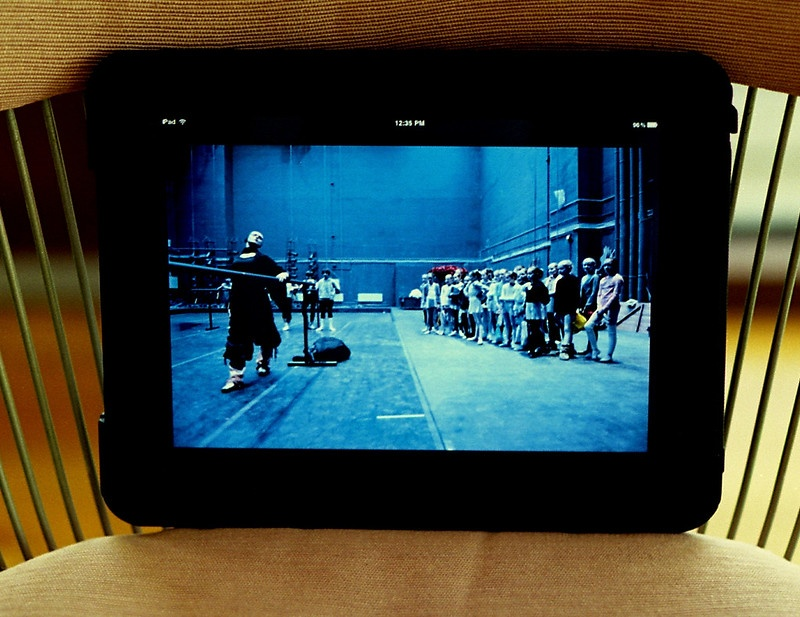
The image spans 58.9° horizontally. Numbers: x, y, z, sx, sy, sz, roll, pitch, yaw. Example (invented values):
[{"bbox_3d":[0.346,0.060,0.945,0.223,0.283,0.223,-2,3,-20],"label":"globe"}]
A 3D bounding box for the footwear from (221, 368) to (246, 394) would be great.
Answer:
[{"bbox_3d":[-0.365,0.158,1.529,0.031,0.059,0.089,0,-9,9],"label":"footwear"}]
